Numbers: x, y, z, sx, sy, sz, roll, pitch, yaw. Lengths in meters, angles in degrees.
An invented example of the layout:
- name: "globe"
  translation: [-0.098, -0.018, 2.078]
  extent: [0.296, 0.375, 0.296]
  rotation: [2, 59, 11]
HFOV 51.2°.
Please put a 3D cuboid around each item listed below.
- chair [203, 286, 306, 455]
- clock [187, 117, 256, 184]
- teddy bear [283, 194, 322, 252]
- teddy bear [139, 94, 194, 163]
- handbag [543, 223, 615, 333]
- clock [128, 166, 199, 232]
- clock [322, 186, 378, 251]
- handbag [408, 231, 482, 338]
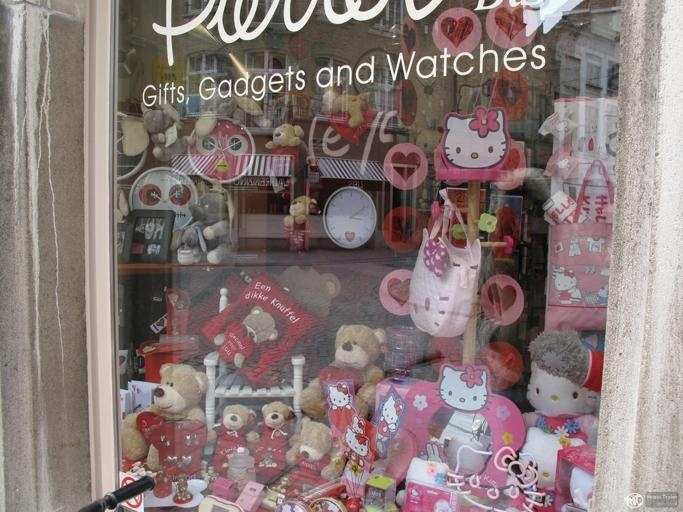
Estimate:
- name: "chair"
  translation: [-0.355, 0.417, 2.919]
  extent: [0.462, 0.658, 0.411]
  rotation: [5, 2, -8]
- name: "clock"
  translation: [-0.442, -0.403, 2.670]
  extent: [0.217, 0.251, 0.023]
  rotation: [0, 5, 11]
- name: "teddy bear"
  translation: [-0.148, -0.121, 2.632]
  extent: [0.129, 0.179, 0.068]
  rotation: [-3, -1, 0]
- name: "teddy bear"
  translation: [-0.659, -0.497, 2.742]
  extent: [0.156, 0.263, 0.176]
  rotation: [20, 37, 29]
- name: "handbag"
  translation: [0.760, 0.068, 2.329]
  extent: [0.077, 0.313, 0.255]
  rotation: [-6, 10, -45]
- name: "clock"
  translation: [-0.695, -0.226, 2.753]
  extent: [0.215, 0.239, 0.031]
  rotation: [1, 4, 0]
- name: "clock"
  translation: [0.038, -0.144, 2.575]
  extent: [0.200, 0.256, 0.032]
  rotation: [0, 7, 14]
- name: "handbag"
  translation: [0.376, 0.090, 2.505]
  extent: [0.196, 0.397, 0.286]
  rotation: [6, 3, -38]
